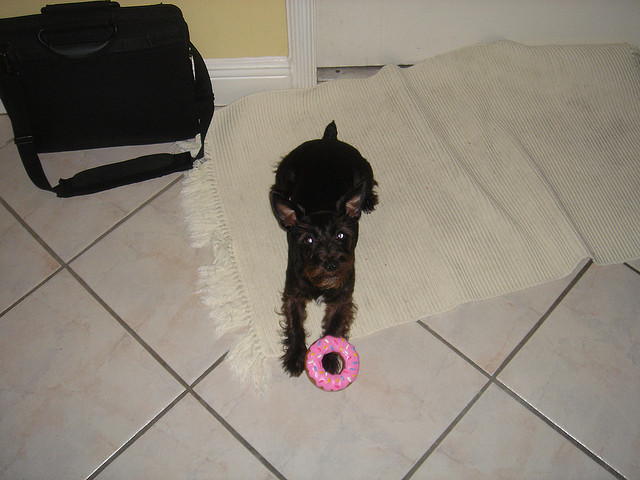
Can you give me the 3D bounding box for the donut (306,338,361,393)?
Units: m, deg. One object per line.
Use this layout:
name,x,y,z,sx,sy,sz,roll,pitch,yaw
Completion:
donut,0.057,0.641,2.606,0.264,0.183,0.243,20,59,13

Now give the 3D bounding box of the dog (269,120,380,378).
dog,-0.022,-0.169,2.907,0.653,0.806,1.611,2,50,-1
